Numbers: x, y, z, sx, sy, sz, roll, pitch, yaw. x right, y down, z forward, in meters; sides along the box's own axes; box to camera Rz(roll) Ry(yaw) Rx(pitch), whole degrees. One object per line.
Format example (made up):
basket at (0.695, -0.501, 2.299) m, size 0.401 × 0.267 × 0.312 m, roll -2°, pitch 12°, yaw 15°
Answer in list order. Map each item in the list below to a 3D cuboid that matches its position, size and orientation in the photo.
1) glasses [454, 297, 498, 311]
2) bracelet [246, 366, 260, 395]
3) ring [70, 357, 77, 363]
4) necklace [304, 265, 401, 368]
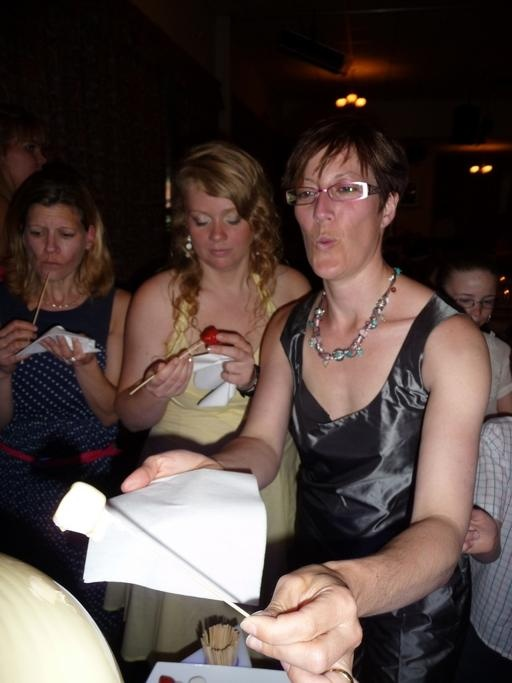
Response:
glasses at (0.995, -0.173, 2.736) m, size 0.154 × 0.082 × 0.181 m, roll -2°, pitch 13°, yaw 1°
bracelet at (-0.015, 0.146, 2.189) m, size 0.051 × 0.088 × 0.081 m, roll 24°, pitch 0°, yaw -4°
ring at (-0.669, 0.068, 2.193) m, size 0.019 × 0.013 × 0.019 m, roll 17°, pitch 20°, yaw -6°
necklace at (0.295, -0.049, 1.622) m, size 0.060 × 0.258 × 0.228 m, roll 30°, pitch -3°, yaw -38°
